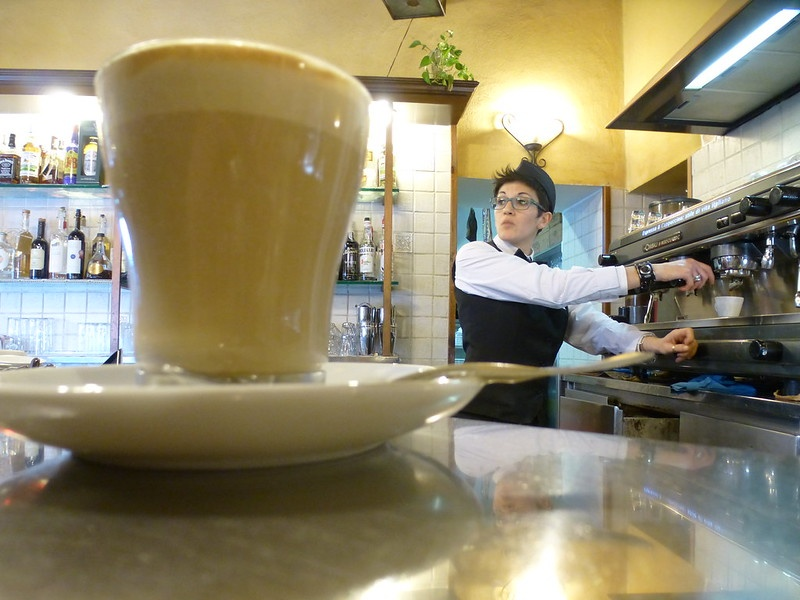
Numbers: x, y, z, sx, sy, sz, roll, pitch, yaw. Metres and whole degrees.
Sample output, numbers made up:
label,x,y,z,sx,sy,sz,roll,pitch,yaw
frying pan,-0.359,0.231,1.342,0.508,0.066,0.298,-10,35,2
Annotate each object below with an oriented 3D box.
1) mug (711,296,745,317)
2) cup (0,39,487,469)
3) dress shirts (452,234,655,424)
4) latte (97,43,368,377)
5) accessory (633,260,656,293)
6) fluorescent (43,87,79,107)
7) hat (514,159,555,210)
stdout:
label,x,y,z,sx,sy,sz,roll,pitch,yaw
mug,1.075,0.020,1.864,0.074,0.053,0.080,2,-7,-9
cup,-0.088,-0.040,0.400,0.291,0.185,0.276,0,-4,0
dress shirts,0.525,0.105,2.012,0.689,0.668,0.575,-2,-15,23
latte,-0.113,-0.044,0.465,0.205,0.213,0.200,6,-3,-38
accessory,0.782,-0.078,1.844,0.060,0.091,0.093,-7,33,2
fluorescent,-1.843,-1.093,3.086,0.104,0.029,0.099,0,-10,-2
hat,0.569,-0.481,2.300,0.088,0.232,0.173,-35,42,-22
